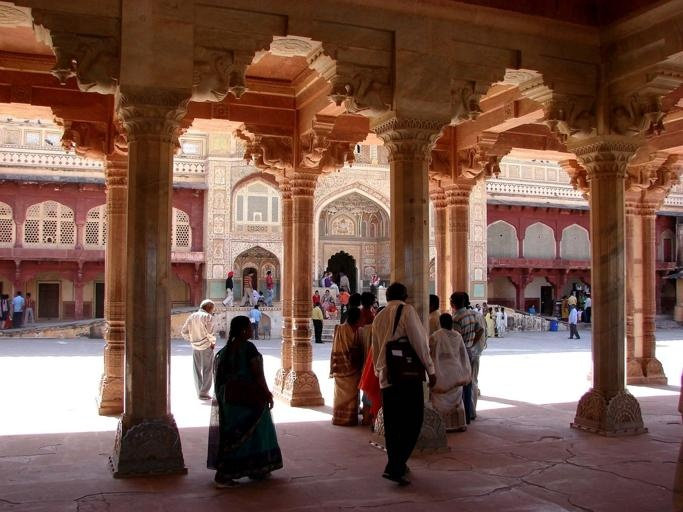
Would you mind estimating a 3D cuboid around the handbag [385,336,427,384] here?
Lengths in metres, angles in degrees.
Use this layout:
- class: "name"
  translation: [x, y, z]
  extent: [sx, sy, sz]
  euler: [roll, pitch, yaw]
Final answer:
- class: "handbag"
  translation: [0.620, 1.005, 6.626]
  extent: [0.421, 0.469, 0.197]
  euler: [-4, -4, -8]

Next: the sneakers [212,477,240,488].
- class: "sneakers"
  translation: [-1.083, 2.089, 6.400]
  extent: [0.199, 0.091, 0.088]
  euler: [0, 0, -6]

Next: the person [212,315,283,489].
- class: "person"
  translation: [-0.907, 1.355, 6.558]
  extent: [0.696, 1.582, 0.427]
  euler: [1, -3, -11]

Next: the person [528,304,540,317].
- class: "person"
  translation: [8.714, 2.448, 31.350]
  extent: [0.447, 0.781, 0.356]
  euler: [-4, 3, 2]

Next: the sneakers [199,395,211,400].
- class: "sneakers"
  translation: [-2.069, 2.131, 10.503]
  extent: [0.176, 0.065, 0.274]
  euler: [1, -3, -15]

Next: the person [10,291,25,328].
- class: "person"
  translation: [-11.447, 1.878, 24.394]
  extent: [0.350, 1.203, 1.579]
  euler: [1, -3, -25]

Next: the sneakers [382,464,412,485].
- class: "sneakers"
  translation: [0.517, 2.079, 6.558]
  extent: [0.112, 0.152, 0.339]
  euler: [-4, -15, 39]

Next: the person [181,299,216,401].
- class: "person"
  translation: [-2.180, 1.418, 10.566]
  extent: [0.472, 1.495, 0.637]
  euler: [1, -3, -13]
